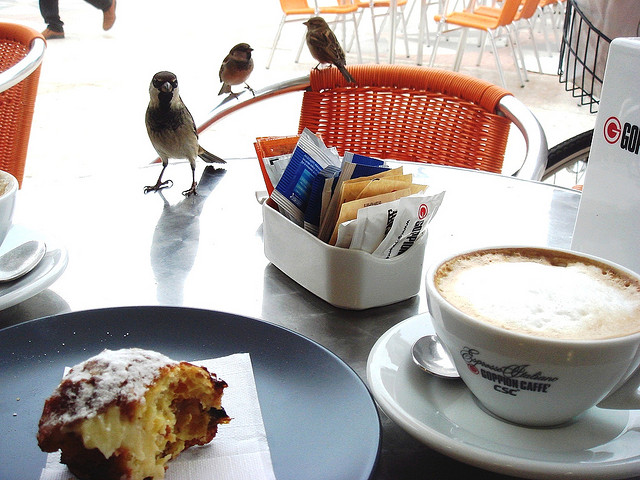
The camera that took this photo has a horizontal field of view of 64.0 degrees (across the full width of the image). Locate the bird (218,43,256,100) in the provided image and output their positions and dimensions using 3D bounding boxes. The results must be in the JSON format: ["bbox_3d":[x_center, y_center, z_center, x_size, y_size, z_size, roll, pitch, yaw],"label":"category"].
[{"bbox_3d":[-0.302,-0.601,1.812,0.119,0.190,0.161,-17,32,-36],"label":"bird"}]

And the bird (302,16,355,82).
[{"bbox_3d":[0.043,-0.750,1.969,0.111,0.174,0.341,-17,37,-26],"label":"bird"}]

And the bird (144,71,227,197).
[{"bbox_3d":[-0.263,-0.212,1.014,0.115,0.218,0.306,4,11,7],"label":"bird"}]

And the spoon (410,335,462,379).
[{"bbox_3d":[0.102,0.104,0.468,0.040,0.017,0.051,-4,36,-6],"label":"spoon"}]

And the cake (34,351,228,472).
[{"bbox_3d":[-0.161,0.144,0.424,0.110,0.057,0.110,1,11,16],"label":"cake"}]
